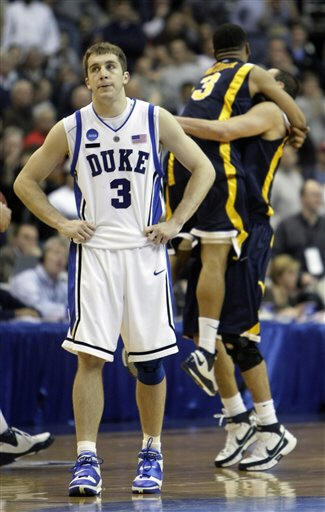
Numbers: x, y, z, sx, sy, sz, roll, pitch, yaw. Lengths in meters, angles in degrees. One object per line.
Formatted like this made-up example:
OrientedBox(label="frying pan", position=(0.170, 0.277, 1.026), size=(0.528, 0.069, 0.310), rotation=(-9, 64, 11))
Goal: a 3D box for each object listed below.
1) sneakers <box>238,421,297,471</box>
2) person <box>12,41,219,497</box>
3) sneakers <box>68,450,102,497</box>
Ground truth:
OrientedBox(label="sneakers", position=(0.481, 0.886, 2.761), size=(0.265, 0.194, 0.168), rotation=(-8, 8, -43))
OrientedBox(label="person", position=(-0.138, 0.043, 2.250), size=(0.741, 1.719, 0.543), rotation=(-5, 6, -18))
OrientedBox(label="sneakers", position=(-0.281, 0.773, 2.089), size=(0.111, 0.143, 0.208), rotation=(-4, 6, -9))
